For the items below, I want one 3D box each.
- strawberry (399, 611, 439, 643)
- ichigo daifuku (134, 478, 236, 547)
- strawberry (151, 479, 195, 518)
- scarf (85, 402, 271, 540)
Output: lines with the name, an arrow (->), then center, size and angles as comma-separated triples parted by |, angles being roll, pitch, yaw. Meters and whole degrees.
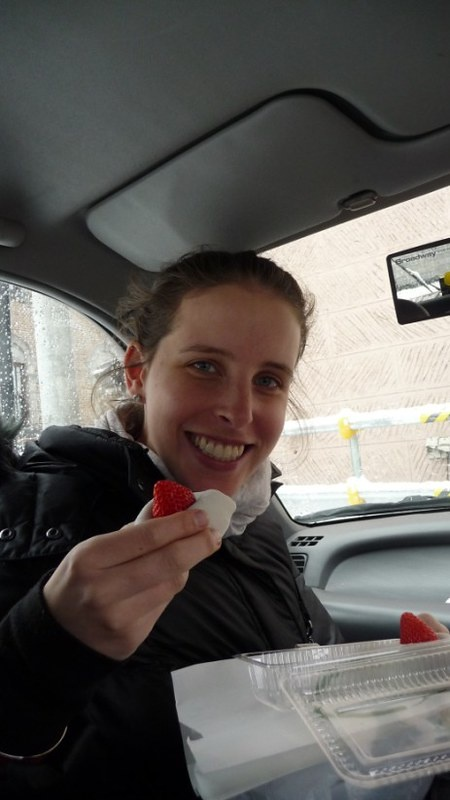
strawberry -> 0.377, 0.457, 1.114 | 0.073, 0.054, 0.020 | 23, -36, -10
ichigo daifuku -> -0.046, 0.172, 0.917 | 0.114, 0.056, 0.115 | -11, -9, 42
strawberry -> -0.085, 0.161, 0.929 | 0.076, 0.055, 0.061 | -4, -6, -13
scarf -> -0.140, 0.275, 1.785 | 0.399, 0.224, 0.488 | 43, -10, -27
